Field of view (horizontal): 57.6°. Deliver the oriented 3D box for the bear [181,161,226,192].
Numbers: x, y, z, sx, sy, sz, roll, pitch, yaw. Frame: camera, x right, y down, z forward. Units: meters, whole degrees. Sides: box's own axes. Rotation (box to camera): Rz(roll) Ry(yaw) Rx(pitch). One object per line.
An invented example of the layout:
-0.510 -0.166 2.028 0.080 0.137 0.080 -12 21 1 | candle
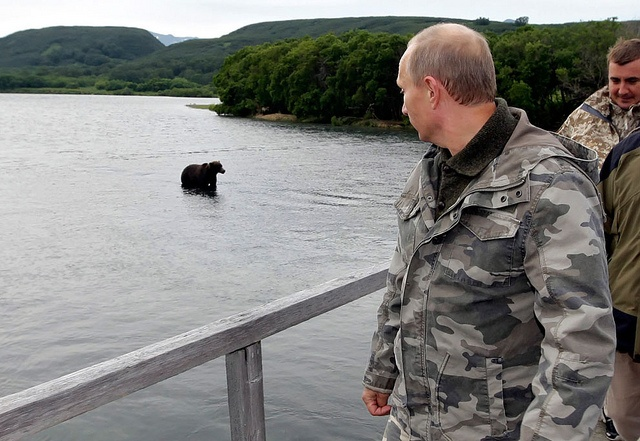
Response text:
-4.627 -1.733 22.540 1.836 1.031 1.091 6 13 29 | bear
